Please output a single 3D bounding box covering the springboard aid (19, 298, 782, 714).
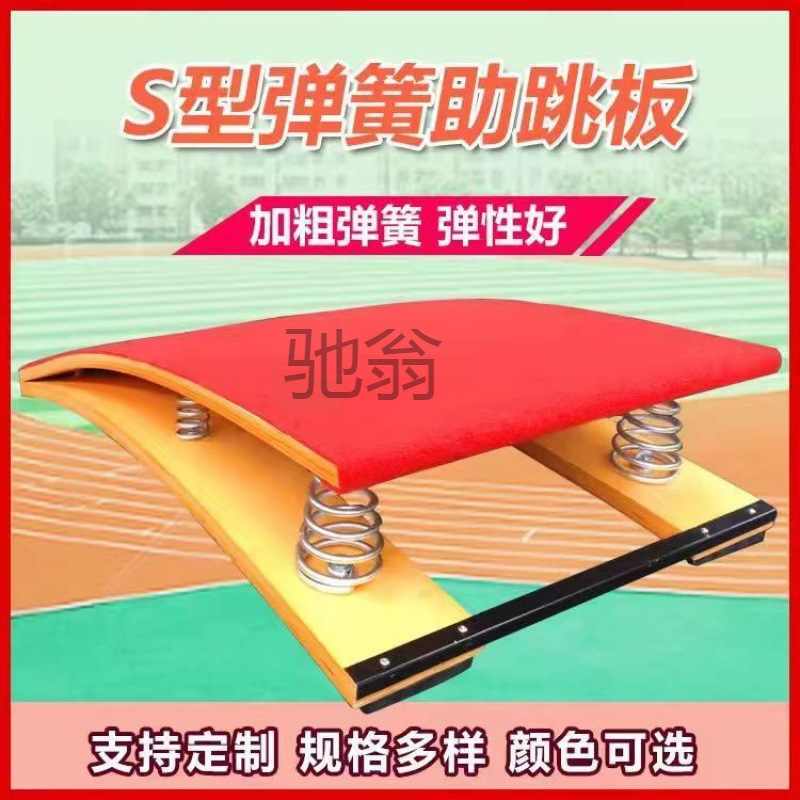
[{"bbox_3d":[-0.224,0.067,1.943,1.255,0.348,1.561,-10,21,-33],"label":"springboard aid"}]

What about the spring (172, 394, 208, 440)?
[{"bbox_3d":[-0.630,0.050,2.170,0.117,0.028,0.132,-15,38,-34],"label":"spring"}]
